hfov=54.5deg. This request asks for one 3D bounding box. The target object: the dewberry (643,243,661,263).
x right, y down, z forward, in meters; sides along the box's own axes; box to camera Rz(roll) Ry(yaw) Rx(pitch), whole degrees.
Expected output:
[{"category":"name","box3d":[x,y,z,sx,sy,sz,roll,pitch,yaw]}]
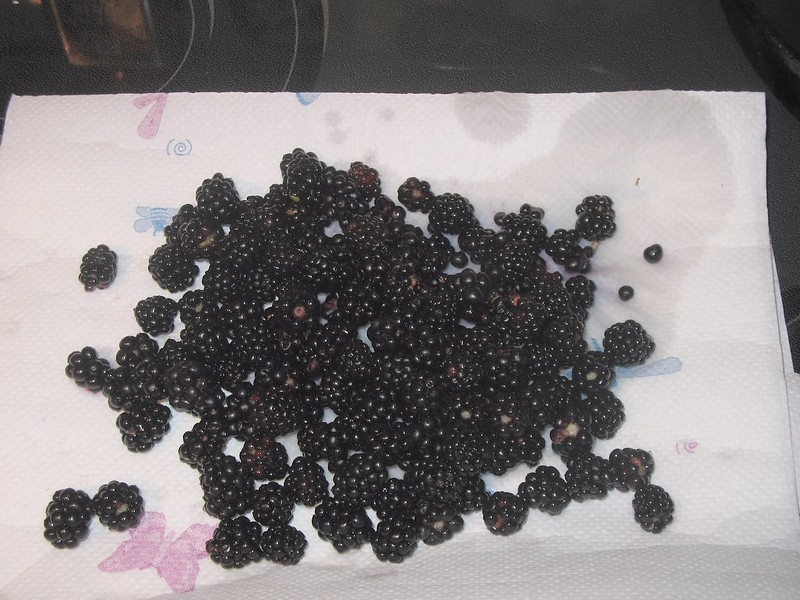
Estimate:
[{"category":"dewberry","box3d":[1.064,-0.197,3.254,0.072,0.071,0.057,-10,50,-19]}]
